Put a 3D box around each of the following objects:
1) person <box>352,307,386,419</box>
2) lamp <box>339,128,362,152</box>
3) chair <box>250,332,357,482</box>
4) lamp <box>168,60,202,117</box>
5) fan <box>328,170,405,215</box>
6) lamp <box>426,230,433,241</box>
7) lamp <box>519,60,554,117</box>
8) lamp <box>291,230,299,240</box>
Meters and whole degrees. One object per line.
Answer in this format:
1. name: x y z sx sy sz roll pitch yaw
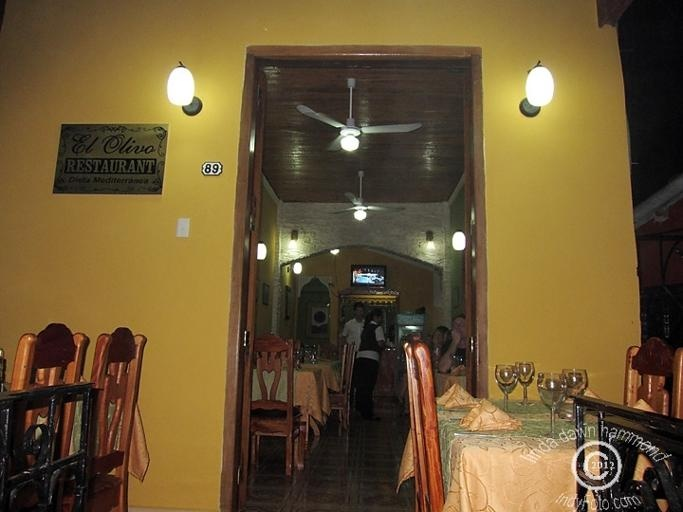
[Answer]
1. person: 0.377 1.467 7.417 0.400 1.449 0.506 1 -6 2
2. lamp: 0.094 -1.179 5.575 0.199 0.257 0.217 -1 -5 -2
3. chair: -0.300 1.332 5.494 0.578 1.033 1.920 0 -7 5
4. lamp: -1.119 -1.221 3.819 0.165 0.361 0.331 2 12 -10
5. fan: 0.258 -0.871 8.314 0.710 0.563 0.763 0 -10 28
6. lamp: 1.518 -0.345 9.297 0.130 0.198 0.092 1 -6 3
7. lamp: 1.330 -1.116 3.707 0.219 0.442 0.245 1 -12 35
8. lamp: -0.802 -0.356 9.463 0.135 0.196 0.076 3 -6 -13
